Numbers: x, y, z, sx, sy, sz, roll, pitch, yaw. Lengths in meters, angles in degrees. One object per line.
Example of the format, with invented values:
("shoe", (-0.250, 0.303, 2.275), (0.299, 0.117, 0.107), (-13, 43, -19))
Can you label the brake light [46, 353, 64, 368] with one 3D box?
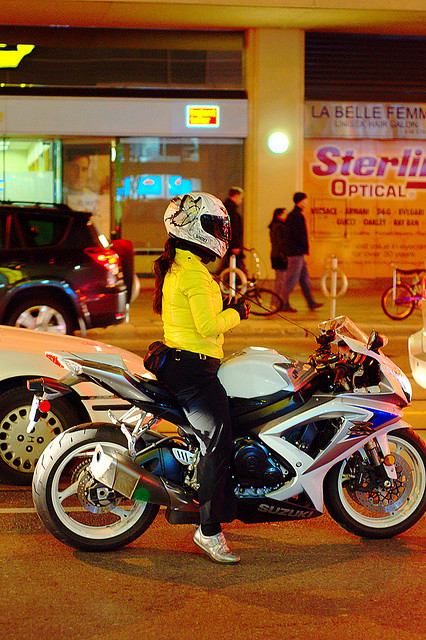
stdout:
("brake light", (-0.720, 0.179, 2.596), (0.066, 0.051, 0.194), (3, -5, -15))

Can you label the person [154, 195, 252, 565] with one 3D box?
("person", (-0.058, 0.264, 2.628), (0.436, 1.738, 0.345), (2, -5, -6))

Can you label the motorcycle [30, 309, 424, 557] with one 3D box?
("motorcycle", (0.119, 0.503, 3.373), (2.631, 1.426, 0.898), (-2, 10, -7))

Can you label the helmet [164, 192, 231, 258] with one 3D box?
("helmet", (-0.084, -0.465, 2.743), (0.344, 0.315, 0.263), (6, 8, -4))

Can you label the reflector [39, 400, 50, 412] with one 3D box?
("reflector", (-0.886, 0.459, 2.999), (0.017, 0.069, 0.073), (16, 10, 39))

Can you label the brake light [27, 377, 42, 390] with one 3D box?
("brake light", (-0.867, 0.307, 2.752), (0.094, 0.042, 0.116), (-4, -16, -12))
